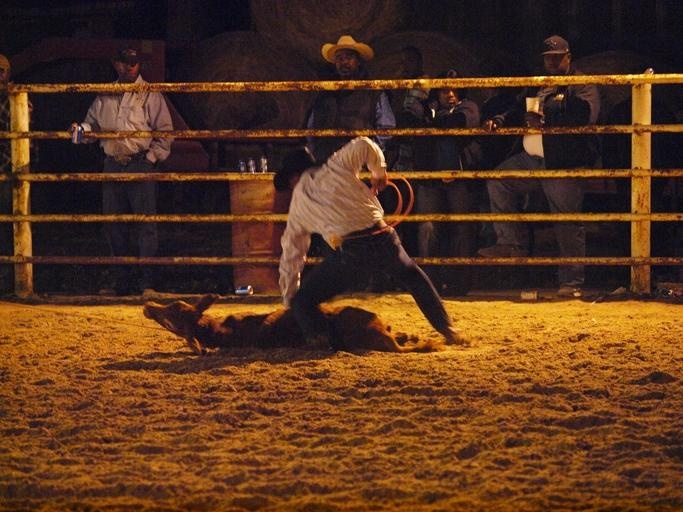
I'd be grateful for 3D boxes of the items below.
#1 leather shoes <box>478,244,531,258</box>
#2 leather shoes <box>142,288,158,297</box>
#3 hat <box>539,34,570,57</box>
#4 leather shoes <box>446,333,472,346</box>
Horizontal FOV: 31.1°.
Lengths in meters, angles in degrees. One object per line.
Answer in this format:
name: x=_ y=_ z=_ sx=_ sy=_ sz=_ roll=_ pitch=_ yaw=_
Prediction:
leather shoes: x=1.819 y=-0.035 z=13.740 sx=0.536 sy=0.163 sz=0.188 roll=1 pitch=-2 yaw=-2
leather shoes: x=-2.044 y=0.421 z=13.546 sx=0.120 sy=0.037 sz=0.098 roll=3 pitch=6 yaw=22
hat: x=2.475 y=-2.382 z=13.873 sx=0.475 sy=0.252 sz=0.334 roll=-9 pitch=12 yaw=-36
leather shoes: x=1.116 y=0.805 z=11.576 sx=0.206 sy=0.182 sz=0.109 roll=-4 pitch=10 yaw=-3
